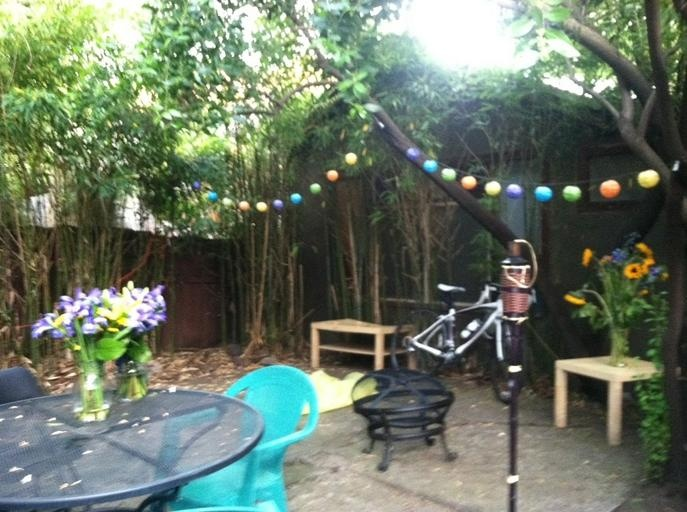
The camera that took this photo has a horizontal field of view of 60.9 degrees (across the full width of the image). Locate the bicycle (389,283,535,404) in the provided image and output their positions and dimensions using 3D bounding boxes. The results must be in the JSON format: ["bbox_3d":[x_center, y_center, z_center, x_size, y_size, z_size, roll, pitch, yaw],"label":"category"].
[{"bbox_3d":[1.358,0.806,5.975,0.819,0.986,1.585,12,-9,-41],"label":"bicycle"}]

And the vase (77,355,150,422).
[{"bbox_3d":[-1.147,0.648,2.868,0.128,0.271,0.326,0,-1,35],"label":"vase"}]

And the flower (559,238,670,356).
[{"bbox_3d":[2.199,0.399,4.723,0.669,0.885,0.702,0,0,31],"label":"flower"}]

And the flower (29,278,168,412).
[{"bbox_3d":[-1.223,0.417,3.117,0.688,0.710,0.630,-1,2,8],"label":"flower"}]

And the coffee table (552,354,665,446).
[{"bbox_3d":[2.039,1.012,4.530,0.692,0.501,0.659,1,-2,-41],"label":"coffee table"}]
